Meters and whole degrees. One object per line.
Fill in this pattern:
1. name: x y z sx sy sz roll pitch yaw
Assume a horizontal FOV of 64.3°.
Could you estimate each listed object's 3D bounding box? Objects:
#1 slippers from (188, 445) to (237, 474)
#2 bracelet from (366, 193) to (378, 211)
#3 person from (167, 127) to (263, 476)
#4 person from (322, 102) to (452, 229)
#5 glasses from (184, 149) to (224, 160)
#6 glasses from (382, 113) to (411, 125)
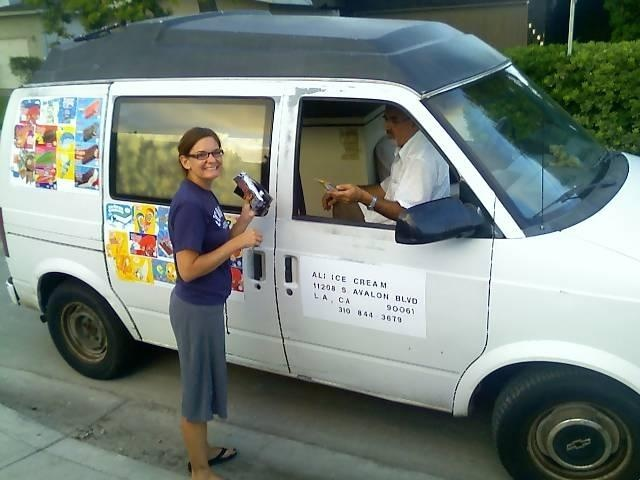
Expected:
1. slippers: -0.781 1.586 3.718 0.334 0.098 0.141 -17 23 -38
2. bracelet: 0.348 -0.270 3.576 0.069 0.119 0.106 15 -1 19
3. person: -0.711 0.489 3.381 0.545 2.415 0.457 -5 12 -25
4. person: 0.448 -0.477 3.832 0.863 1.225 0.840 -10 16 -42
5. glasses: -0.725 -0.541 3.206 0.214 0.059 0.066 -6 14 -25
6. glasses: 0.541 -0.858 3.589 0.123 0.042 0.123 5 7 -30
